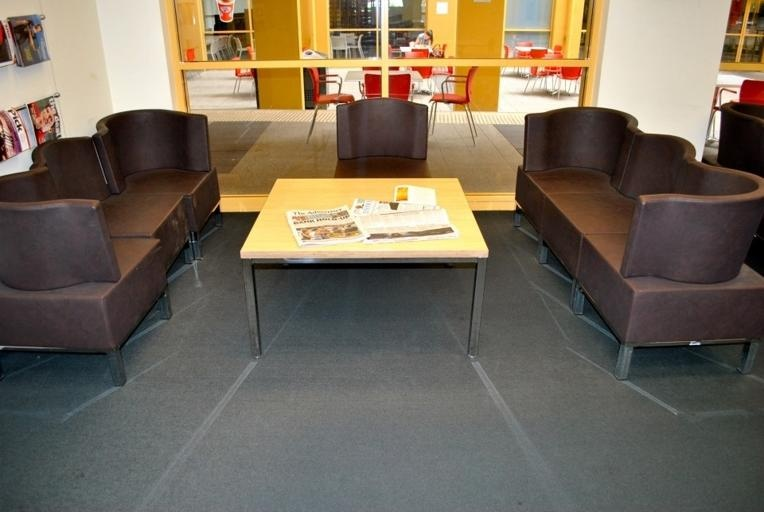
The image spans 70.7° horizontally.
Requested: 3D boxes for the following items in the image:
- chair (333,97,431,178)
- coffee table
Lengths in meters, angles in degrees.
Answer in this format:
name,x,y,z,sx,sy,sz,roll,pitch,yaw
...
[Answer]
name,x,y,z,sx,sy,sz,roll,pitch,yaw
chair,0.004,-1.111,4.998,0.888,0.523,0.800,0,26,0
coffee table,-0.109,0.026,3.778,1.462,0.877,1.210,-1,23,0
